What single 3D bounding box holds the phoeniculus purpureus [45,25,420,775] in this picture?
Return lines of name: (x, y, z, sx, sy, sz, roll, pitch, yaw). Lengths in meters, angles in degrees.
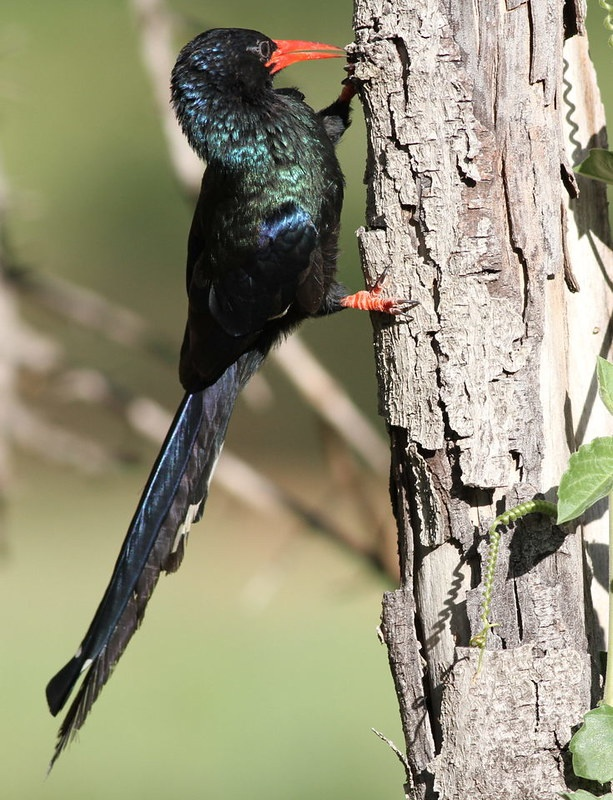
phoeniculus purpureus: (-0.281, 0.184, 3.480, 1.006, 0.963, 2.432, 4, -51, -9)
